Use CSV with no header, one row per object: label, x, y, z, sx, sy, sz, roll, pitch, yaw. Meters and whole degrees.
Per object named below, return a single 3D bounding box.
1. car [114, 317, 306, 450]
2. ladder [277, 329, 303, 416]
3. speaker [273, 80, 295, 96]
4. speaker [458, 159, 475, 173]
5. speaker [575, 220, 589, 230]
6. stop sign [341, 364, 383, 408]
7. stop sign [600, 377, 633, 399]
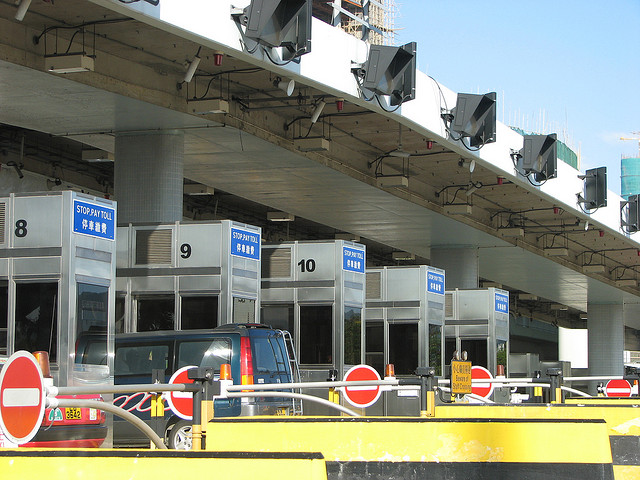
car,-2.695,2.801,20.870,4.450,2.393,2.382,-5,-14,25
ladder,-0.550,2.184,20.805,0.083,1.832,0.356,3,-2,-21
speaker,-0.657,-3.007,23.072,0.442,0.314,0.353,12,22,24
speaker,3.521,-1.809,28.675,0.302,0.237,0.306,8,-45,26
speaker,8.069,-0.441,36.583,0.274,0.169,0.268,3,-9,16
stop sign,0.570,2.110,16.963,0.595,0.595,0.127,-6,-11,20
stop sign,5.807,2.897,23.097,0.472,0.353,0.563,-5,-10,11
